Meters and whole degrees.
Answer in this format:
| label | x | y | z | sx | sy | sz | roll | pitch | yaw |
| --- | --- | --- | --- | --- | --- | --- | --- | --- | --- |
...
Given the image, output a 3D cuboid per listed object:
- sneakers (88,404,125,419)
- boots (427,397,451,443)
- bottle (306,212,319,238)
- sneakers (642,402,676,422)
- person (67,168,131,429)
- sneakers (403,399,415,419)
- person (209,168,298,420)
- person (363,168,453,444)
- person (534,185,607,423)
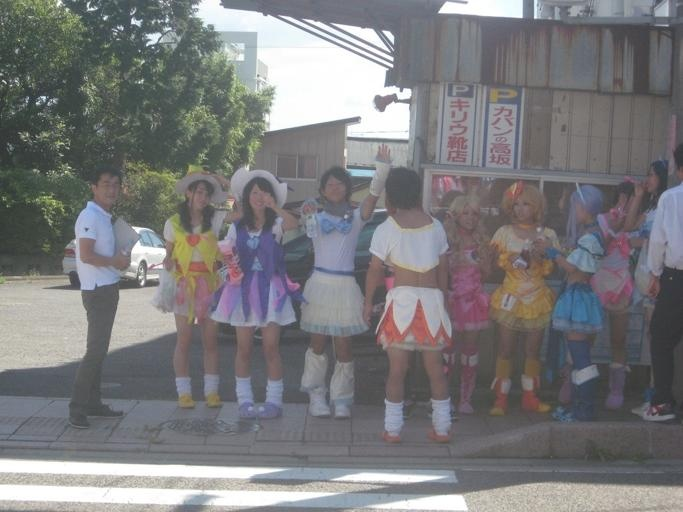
| label | x | y | z | sx | sy | sz | roll | pitch | yaw |
| --- | --- | --- | --- | --- | --- | --- | --- | --- | --- |
| sneakers | -2.420 | 1.597 | 8.526 | 0.372 | 0.156 | 0.136 | 2 | -3 | -9 |
| boots | 0.966 | 1.585 | 7.988 | 0.220 | 0.438 | 0.358 | 0 | 4 | 5 |
| bottle | -0.310 | -0.302 | 8.602 | 0.136 | 0.281 | 0.198 | -3 | 10 | -14 |
| sneakers | 3.035 | 1.497 | 7.963 | 0.132 | 0.173 | 0.339 | -2 | 0 | -26 |
| person | -2.460 | 0.402 | 8.350 | 0.668 | 2.481 | 0.677 | -3 | 10 | -18 |
| sneakers | 0.724 | 1.632 | 8.851 | 0.092 | 0.145 | 0.136 | 0 | -15 | 2 |
| person | -0.877 | 0.397 | 8.617 | 0.858 | 2.544 | 0.699 | -2 | 10 | -9 |
| person | 0.669 | 0.462 | 8.119 | 0.853 | 2.586 | 0.734 | 1 | 10 | 8 |
| person | 2.408 | 0.502 | 8.459 | 0.531 | 2.386 | 0.915 | 2 | 10 | 13 |
